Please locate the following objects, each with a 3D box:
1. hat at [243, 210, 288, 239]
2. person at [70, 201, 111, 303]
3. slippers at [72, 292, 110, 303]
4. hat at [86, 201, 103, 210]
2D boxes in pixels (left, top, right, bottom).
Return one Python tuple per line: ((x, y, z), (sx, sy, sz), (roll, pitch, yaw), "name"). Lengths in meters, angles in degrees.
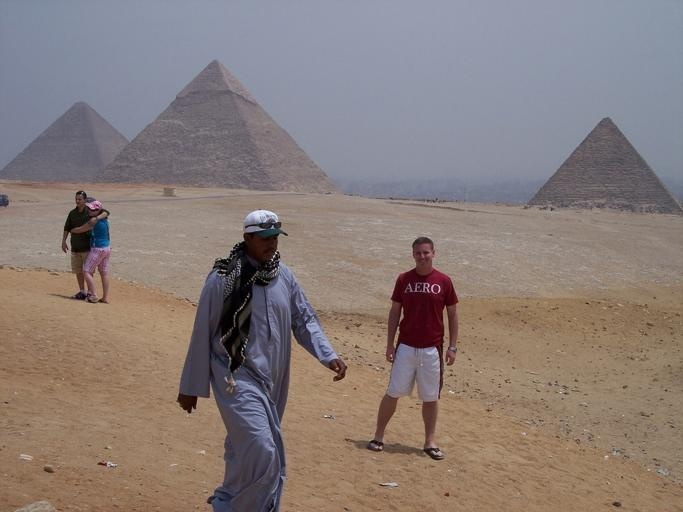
((-0.518, -0.207, 3.871), (0.291, 0.158, 0.204), (1, 2, 19), "hat")
((-3.601, -0.077, 8.602), (0.486, 1.523, 0.723), (6, 7, -16), "person")
((-3.607, 0.599, 8.571), (0.534, 0.206, 0.191), (5, -1, -1), "slippers")
((-3.515, -0.726, 8.385), (0.147, 0.074, 0.214), (16, -1, -17), "hat")
